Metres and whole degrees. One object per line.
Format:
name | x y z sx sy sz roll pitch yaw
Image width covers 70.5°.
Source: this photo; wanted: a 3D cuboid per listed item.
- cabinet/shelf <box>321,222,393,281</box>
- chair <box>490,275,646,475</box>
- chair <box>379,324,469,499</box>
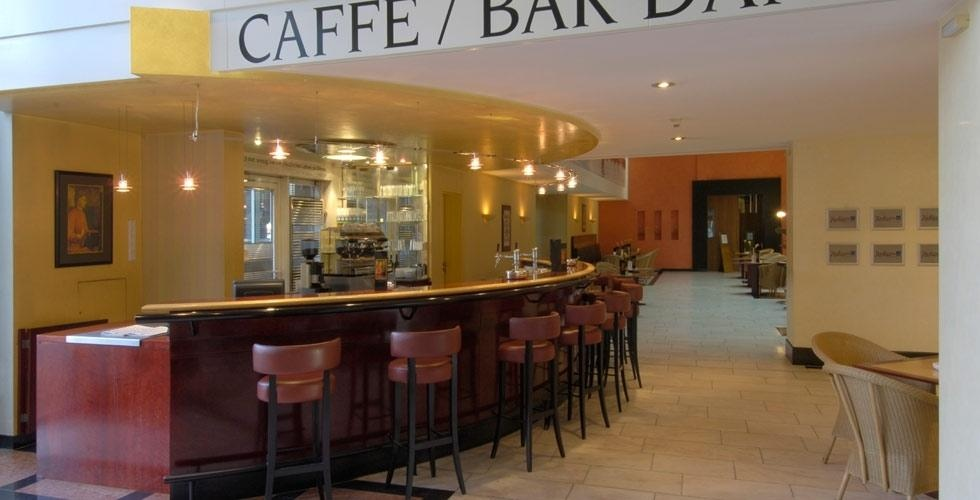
cabinet/shelf | -2.081 -0.009 10.551 0.730 0.692 0.916 3 4 28
chair | 1.006 1.787 9.587 0.692 1.249 2.721 2 2 26
chair | -0.822 1.941 8.494 0.968 2.000 1.103 -2 14 -9
